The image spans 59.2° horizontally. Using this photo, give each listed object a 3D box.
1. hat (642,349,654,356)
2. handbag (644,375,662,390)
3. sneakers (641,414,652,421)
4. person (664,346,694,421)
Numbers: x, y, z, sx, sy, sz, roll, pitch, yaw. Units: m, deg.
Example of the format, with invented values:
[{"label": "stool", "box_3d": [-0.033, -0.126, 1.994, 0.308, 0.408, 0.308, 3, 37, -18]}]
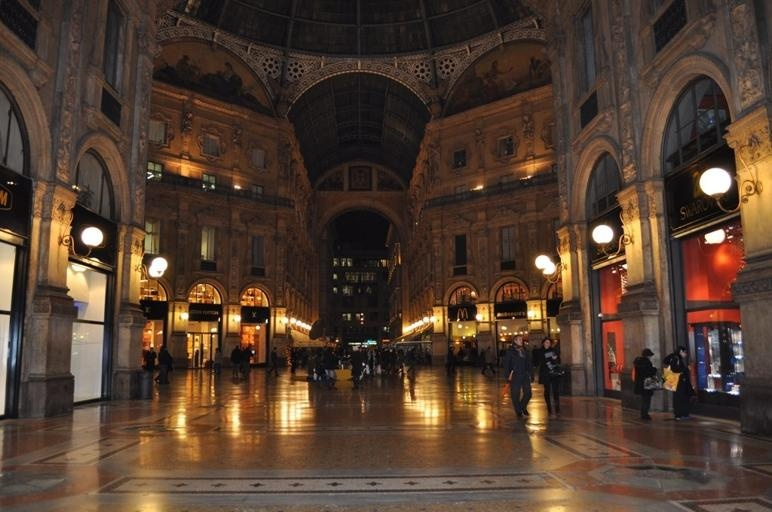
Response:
[{"label": "hat", "box_3d": [7.015, 2.599, 18.209, 0.221, 0.102, 0.218, 0, -5, -35]}, {"label": "handbag", "box_3d": [7.083, 3.377, 18.089, 0.446, 0.226, 0.585, -1, 5, 18]}, {"label": "sneakers", "box_3d": [6.830, 4.241, 17.811, 0.241, 0.167, 0.477, -5, -16, 20]}, {"label": "person", "box_3d": [7.733, 3.348, 17.927, 0.732, 1.871, 0.556, 0, -15, 2]}]
